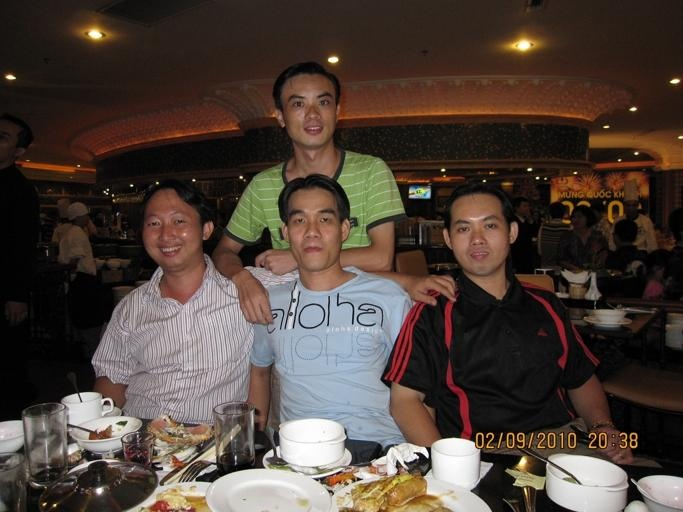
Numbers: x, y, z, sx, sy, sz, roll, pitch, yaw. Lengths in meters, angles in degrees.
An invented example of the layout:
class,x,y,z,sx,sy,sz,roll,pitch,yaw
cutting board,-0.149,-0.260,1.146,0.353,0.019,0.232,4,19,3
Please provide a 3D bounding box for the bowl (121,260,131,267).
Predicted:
class,x,y,z,sx,sy,sz,roll,pitch,yaw
bowl,-3.194,0.116,7.294,0.117,0.075,0.109,2,8,0

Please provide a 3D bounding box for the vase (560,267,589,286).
class,x,y,z,sx,sy,sz,roll,pitch,yaw
vase,1.885,0.179,4.030,0.136,0.085,0.175,3,-2,-2

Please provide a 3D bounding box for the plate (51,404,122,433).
class,x,y,z,sx,sy,sz,roll,pitch,yaw
plate,-0.856,0.540,1.710,0.156,0.032,0.146,6,3,18

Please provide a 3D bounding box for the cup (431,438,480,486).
class,x,y,z,sx,sy,sz,roll,pitch,yaw
cup,0.342,0.613,1.474,0.130,0.070,0.120,-1,-2,0

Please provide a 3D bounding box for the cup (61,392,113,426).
class,x,y,z,sx,sy,sz,roll,pitch,yaw
cup,-0.946,0.567,1.851,0.171,0.100,0.122,7,0,-11

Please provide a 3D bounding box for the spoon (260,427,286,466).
class,x,y,z,sx,sy,sz,roll,pitch,yaw
spoon,-0.217,0.632,1.601,0.049,0.028,0.259,12,2,-15

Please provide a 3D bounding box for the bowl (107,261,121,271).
class,x,y,z,sx,sy,sz,roll,pitch,yaw
bowl,-3.290,0.159,7.098,0.145,0.087,0.136,1,-3,0

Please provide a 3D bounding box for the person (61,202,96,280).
class,x,y,z,sx,sy,sz,roll,pitch,yaw
person,-3.749,-0.259,6.954,0.483,1.091,2.387,-4,4,-27

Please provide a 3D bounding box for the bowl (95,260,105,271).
class,x,y,z,sx,sy,sz,roll,pitch,yaw
bowl,-3.498,0.144,7.157,0.189,0.127,0.175,2,2,0

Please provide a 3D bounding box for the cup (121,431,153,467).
class,x,y,z,sx,sy,sz,roll,pitch,yaw
cup,-0.635,0.603,1.539,0.108,0.106,0.104,0,-10,0

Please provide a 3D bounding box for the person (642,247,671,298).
class,x,y,z,sx,sy,sz,roll,pitch,yaw
person,3.864,0.368,6.097,0.282,0.785,0.258,-1,33,19
